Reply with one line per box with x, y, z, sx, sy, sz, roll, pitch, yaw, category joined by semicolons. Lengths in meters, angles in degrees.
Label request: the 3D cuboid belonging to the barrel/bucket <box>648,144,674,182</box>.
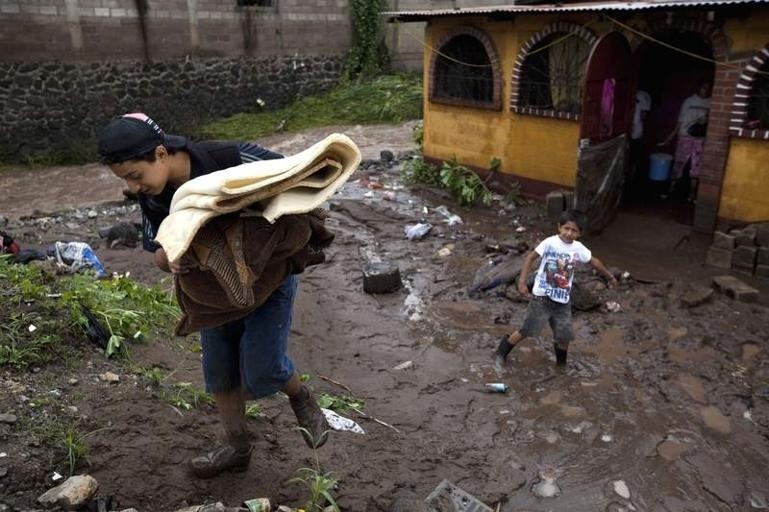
5.273;-1.790;10.401;0.562;0.536;0.545;0;21;0;barrel/bucket

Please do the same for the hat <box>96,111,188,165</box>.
-1.807;-0.871;3.931;0.334;0.276;0.536;9;36;33;hat

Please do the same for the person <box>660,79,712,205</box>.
5.656;-2.173;10.063;0.610;2.050;1.590;8;23;24;person

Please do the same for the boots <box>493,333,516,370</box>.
1.523;1.168;6.729;0.183;0.349;0.354;19;5;16;boots

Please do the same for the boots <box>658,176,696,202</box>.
5.838;-1.335;10.439;0.789;0.325;0.595;-24;34;-26;boots
